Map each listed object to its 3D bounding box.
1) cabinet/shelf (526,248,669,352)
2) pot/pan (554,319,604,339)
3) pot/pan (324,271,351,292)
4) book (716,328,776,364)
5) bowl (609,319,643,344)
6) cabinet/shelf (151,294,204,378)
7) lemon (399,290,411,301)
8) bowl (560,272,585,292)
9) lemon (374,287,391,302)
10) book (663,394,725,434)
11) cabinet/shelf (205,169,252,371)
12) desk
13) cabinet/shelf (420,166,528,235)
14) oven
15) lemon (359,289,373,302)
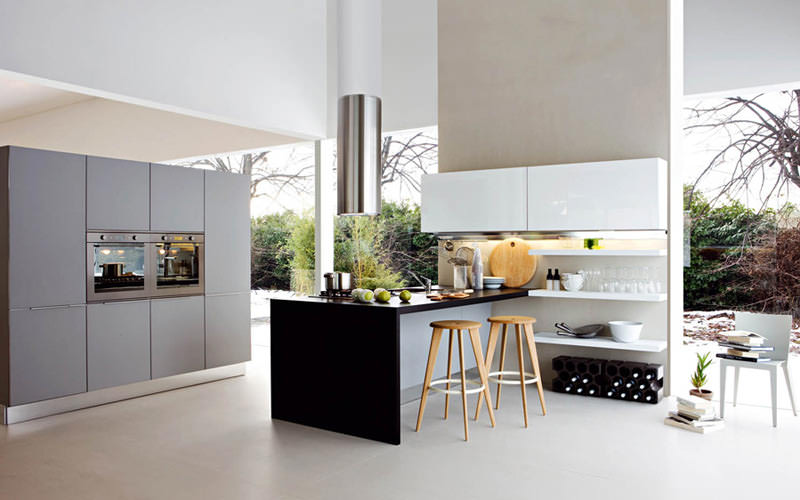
[{"bbox_3d":[2.650,0.647,6.568,1.497,1.166,0.503,-2,-3,34],"label":"cabinet/shelf"},{"bbox_3d":[2.345,1.065,6.660,0.278,0.112,0.355,-13,2,-29],"label":"pot/pan"},{"bbox_3d":[-0.713,0.381,5.999,0.256,0.167,0.252,-2,-6,19],"label":"pot/pan"},{"bbox_3d":[3.928,1.083,5.703,0.373,0.200,0.429,1,-1,-40],"label":"book"},{"bbox_3d":[2.817,1.026,6.307,0.300,0.168,0.291,1,-10,0],"label":"bowl"},{"bbox_3d":[-3.017,1.152,6.839,0.742,1.042,0.251,-5,10,-31],"label":"cabinet/shelf"},{"bbox_3d":[0.053,0.502,5.593,0.103,0.102,0.105,-7,0,24],"label":"lemon"},{"bbox_3d":[2.272,0.421,6.625,0.252,0.194,0.255,1,-9,0],"label":"bowl"},{"bbox_3d":[-0.197,0.498,5.561,0.143,0.137,0.146,-2,-5,12],"label":"lemon"},{"bbox_3d":[3.286,1.759,5.583,0.410,0.194,0.422,-4,5,-43],"label":"book"},{"bbox_3d":[-2.507,0.264,7.296,0.826,2.775,0.434,-6,10,-32],"label":"cabinet/shelf"},{"bbox_3d":[-0.445,1.255,5.910,1.418,1.203,2.775,0,-1,34],"label":"desk"},{"bbox_3d":[1.044,-0.655,6.880,1.017,0.561,0.335,-2,-5,29],"label":"cabinet/shelf"},{"bbox_3d":[-3.376,0.178,6.643,1.409,0.784,0.716,-2,6,-41],"label":"oven"},{"bbox_3d":[-0.377,0.498,5.536,0.139,0.133,0.144,-1,-2,21],"label":"lemon"}]
